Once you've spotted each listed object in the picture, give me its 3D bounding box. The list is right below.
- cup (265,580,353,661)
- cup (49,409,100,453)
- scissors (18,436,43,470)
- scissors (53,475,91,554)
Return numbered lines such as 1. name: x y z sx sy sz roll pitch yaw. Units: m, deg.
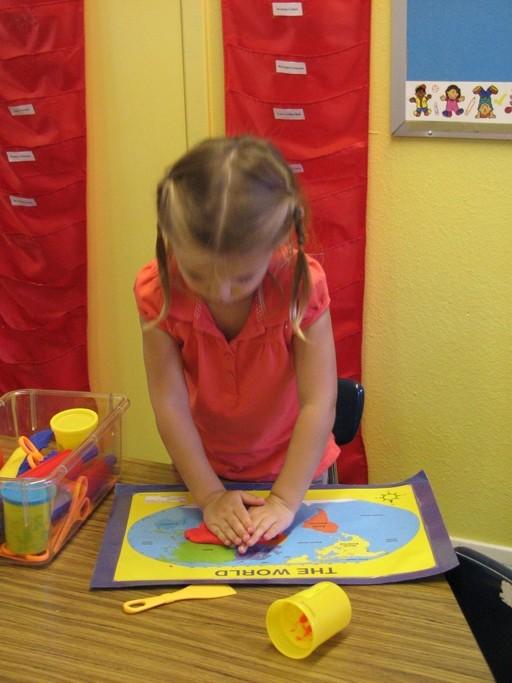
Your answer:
1. cup: 0.036 0.239 0.583 0.058 0.053 0.075 31 36 35
2. cup: -0.236 0.118 0.818 0.045 0.030 0.042 -1 31 1
3. scissors: -0.288 0.139 0.798 0.027 0.009 0.045 31 19 -47
4. scissors: -0.215 0.203 0.735 0.009 0.062 0.034 15 21 -29
